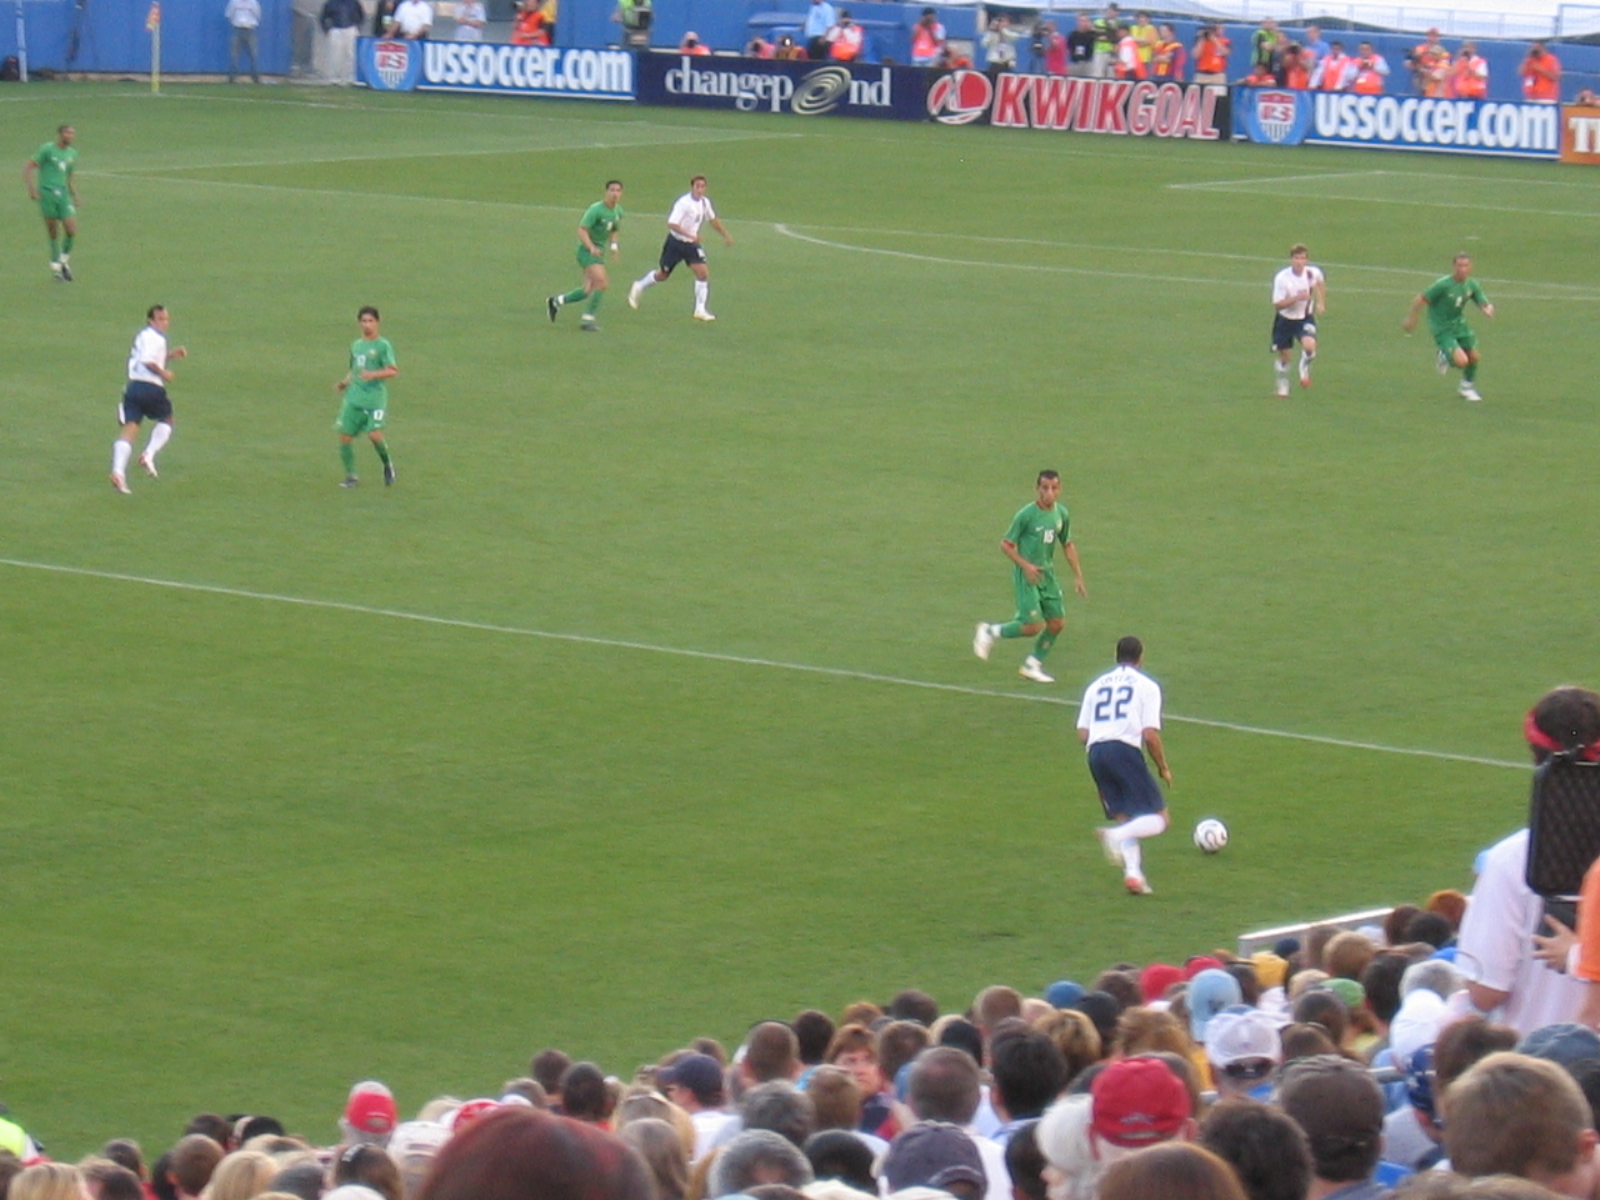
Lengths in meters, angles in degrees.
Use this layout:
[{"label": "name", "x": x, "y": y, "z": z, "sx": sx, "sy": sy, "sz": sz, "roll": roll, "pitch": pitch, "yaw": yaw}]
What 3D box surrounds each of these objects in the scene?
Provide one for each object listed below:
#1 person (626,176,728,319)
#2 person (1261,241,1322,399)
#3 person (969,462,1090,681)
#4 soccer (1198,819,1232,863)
[{"label": "person", "x": -1.995, "y": -5.741, "z": 53.637, "sx": 1.621, "sy": 2.643, "sz": 1.091, "roll": 2, "pitch": 6, "yaw": 12}, {"label": "person", "x": 7.219, "y": -4.231, "z": 49.440, "sx": 1.049, "sy": 2.316, "sz": 0.794, "roll": 10, "pitch": 24, "yaw": 24}, {"label": "person", "x": 2.901, "y": -0.279, "z": 40.663, "sx": 1.452, "sy": 2.535, "sz": 1.071, "roll": 5, "pitch": 7, "yaw": 42}, {"label": "soccer", "x": 4.487, "y": 2.550, "z": 36.645, "sx": 0.343, "sy": 0.311, "sz": 0.418, "roll": 0, "pitch": 2, "yaw": -25}]
